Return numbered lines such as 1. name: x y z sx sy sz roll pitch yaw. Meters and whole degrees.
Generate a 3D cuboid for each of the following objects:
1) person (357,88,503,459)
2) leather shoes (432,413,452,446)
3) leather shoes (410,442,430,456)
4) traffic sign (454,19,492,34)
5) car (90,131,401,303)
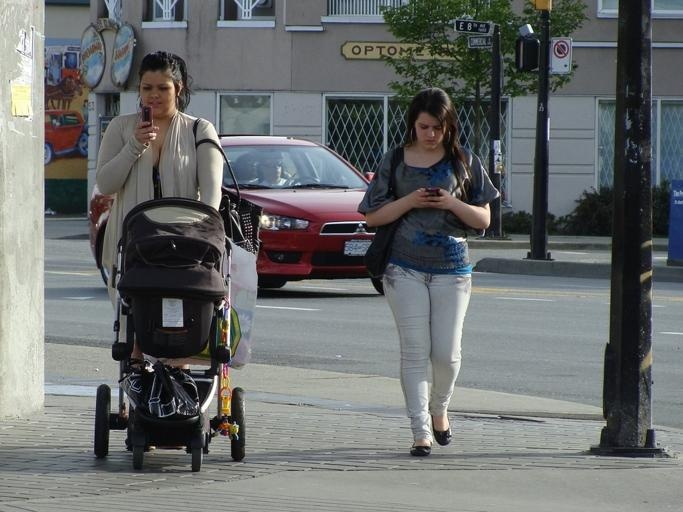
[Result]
1. person: 0.591 0.058 9.519 0.774 2.407 0.619 -4 5 -37
2. leather shoes: 0.682 1.165 9.501 0.079 0.239 0.057 -12 -3 9
3. leather shoes: 0.533 1.252 9.232 0.164 0.083 0.117 -2 5 -17
4. traffic sign: 2.232 -3.961 23.999 0.599 0.267 0.830 0 5 5
5. car: -0.748 -0.626 17.684 1.607 1.519 3.346 -1 -2 -25
